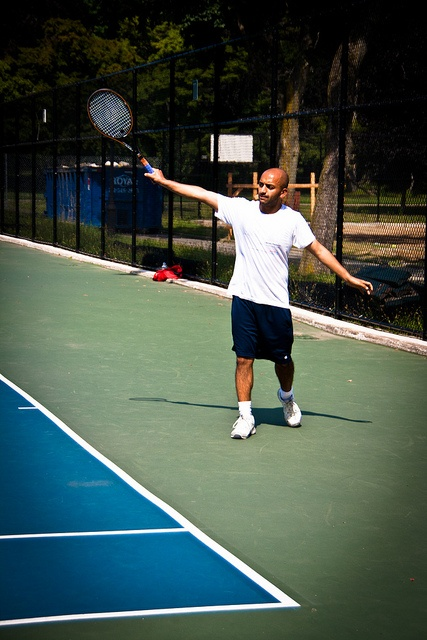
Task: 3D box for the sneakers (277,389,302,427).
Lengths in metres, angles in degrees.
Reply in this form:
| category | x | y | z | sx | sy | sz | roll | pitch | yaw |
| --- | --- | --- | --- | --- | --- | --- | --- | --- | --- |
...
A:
| category | x | y | z | sx | sy | sz | roll | pitch | yaw |
| --- | --- | --- | --- | --- | --- | --- | --- | --- | --- |
| sneakers | 0.600 | 0.689 | 5.430 | 0.132 | 0.362 | 0.145 | -18 | -4 | 4 |

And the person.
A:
| category | x | y | z | sx | sy | sz | roll | pitch | yaw |
| --- | --- | --- | --- | --- | --- | --- | --- | --- | --- |
| person | 0.399 | -0.108 | 5.081 | 1.130 | 2.013 | 0.521 | 3 | 5 | 9 |
